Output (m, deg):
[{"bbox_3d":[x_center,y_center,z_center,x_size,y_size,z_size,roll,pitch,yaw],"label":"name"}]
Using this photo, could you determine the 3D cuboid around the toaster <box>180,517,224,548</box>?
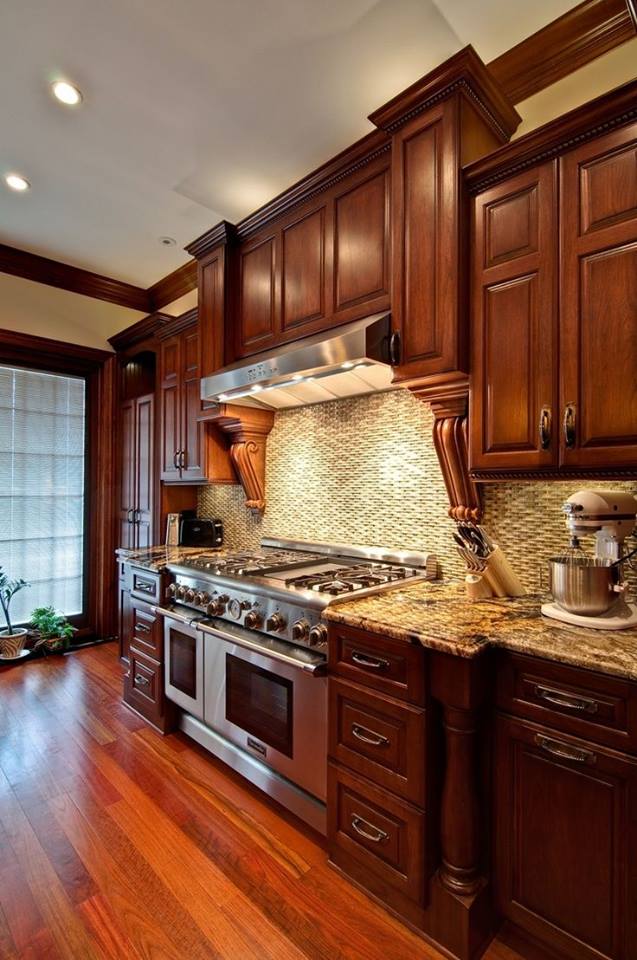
[{"bbox_3d":[-0.651,0.294,3.803,0.247,0.198,0.140,-1,-6,21],"label":"toaster"}]

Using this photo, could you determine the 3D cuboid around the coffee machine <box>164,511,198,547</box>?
[{"bbox_3d":[-0.770,0.286,3.944,0.125,0.241,0.239,1,-4,10],"label":"coffee machine"}]

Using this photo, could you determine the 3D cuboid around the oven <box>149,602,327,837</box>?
[{"bbox_3d":[-0.197,0.835,2.723,0.565,0.646,1.051,-4,8,-44],"label":"oven"}]

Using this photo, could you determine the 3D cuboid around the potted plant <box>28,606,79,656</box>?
[{"bbox_3d":[-1.703,0.979,4.357,0.266,0.201,0.281,7,4,28],"label":"potted plant"}]

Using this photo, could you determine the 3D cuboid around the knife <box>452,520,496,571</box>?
[{"bbox_3d":[0.508,0.219,2.242,0.047,0.162,0.104,-17,28,-32],"label":"knife"}]
